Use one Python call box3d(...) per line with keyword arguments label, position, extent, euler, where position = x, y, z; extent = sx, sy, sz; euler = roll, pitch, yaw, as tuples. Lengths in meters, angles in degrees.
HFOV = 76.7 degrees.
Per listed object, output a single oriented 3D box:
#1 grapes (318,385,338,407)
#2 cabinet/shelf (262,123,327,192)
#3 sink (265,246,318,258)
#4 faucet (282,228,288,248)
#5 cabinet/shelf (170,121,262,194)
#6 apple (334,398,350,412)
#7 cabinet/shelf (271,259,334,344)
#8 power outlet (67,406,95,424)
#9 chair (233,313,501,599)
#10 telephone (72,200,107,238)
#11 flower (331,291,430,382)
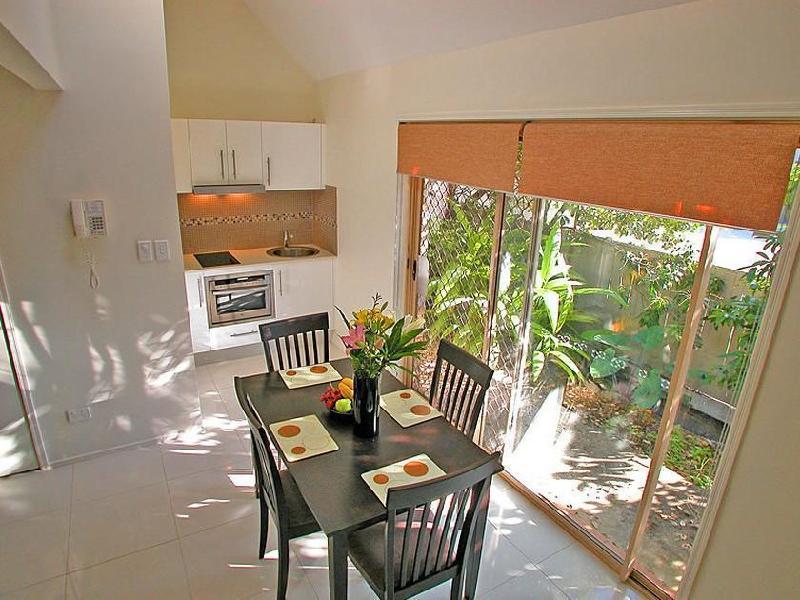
box3d(label="grapes", position=(-0.434, 0.572, 3.087), extent=(0.097, 0.052, 0.126), euler=(-14, 29, -26))
box3d(label="cabinet/shelf", position=(-1.064, -1.457, 5.350), extent=(0.866, 0.843, 0.596), euler=(-3, 30, -14))
box3d(label="sink", position=(-1.183, -0.528, 5.582), extent=(0.566, 0.114, 0.433), euler=(0, 10, -1))
box3d(label="faucet", position=(-1.283, -0.681, 5.676), extent=(0.066, 0.171, 0.121), euler=(0, 11, -1))
box3d(label="cabinet/shelf", position=(-1.739, -1.343, 4.716), extent=(0.832, 0.716, 0.343), euler=(-10, 26, -27))
box3d(label="apple", position=(-0.346, 0.606, 3.002), extent=(0.076, 0.081, 0.079), euler=(-2, 9, -24))
box3d(label="cabinet/shelf", position=(-1.014, -0.071, 5.342), extent=(0.600, 0.926, 0.629), euler=(-8, 19, -30))
box3d(label="power outlet", position=(-2.346, 0.835, 3.728), extent=(0.162, 0.125, 0.010), euler=(-5, 13, -26))
box3d(label="chair", position=(-0.173, 0.949, 2.950), extent=(0.742, 1.144, 1.152), euler=(-8, 34, -24))
box3d(label="telephone", position=(-2.095, -0.550, 3.438), extent=(0.227, 0.235, 0.067), euler=(-24, 22, -37))
box3d(label="flower", position=(-0.106, 0.229, 2.821), extent=(0.439, 0.380, 0.211), euler=(-1, 11, -7))
